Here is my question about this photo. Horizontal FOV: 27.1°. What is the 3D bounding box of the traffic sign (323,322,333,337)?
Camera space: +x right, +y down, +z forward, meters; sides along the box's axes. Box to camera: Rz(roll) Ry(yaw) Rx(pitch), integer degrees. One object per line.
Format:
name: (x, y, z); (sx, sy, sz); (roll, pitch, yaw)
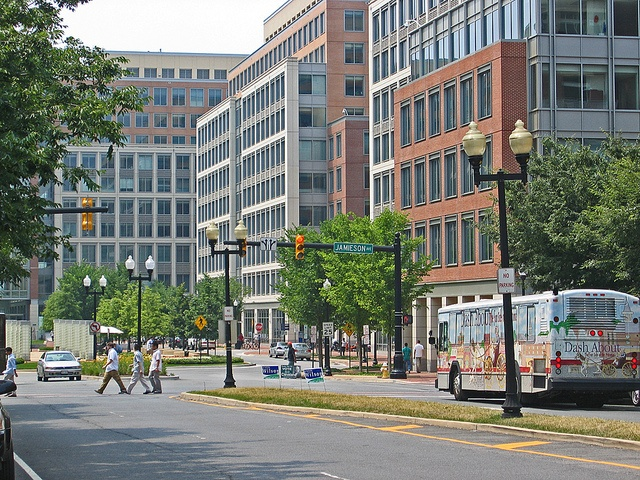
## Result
traffic sign: (0.362, 4.477, 68.507); (0.478, 0.691, 0.860); (0, -11, -2)

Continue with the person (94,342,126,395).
person: (-8.702, 5.366, 56.476); (0.956, 2.522, 1.053); (4, -4, -35)
